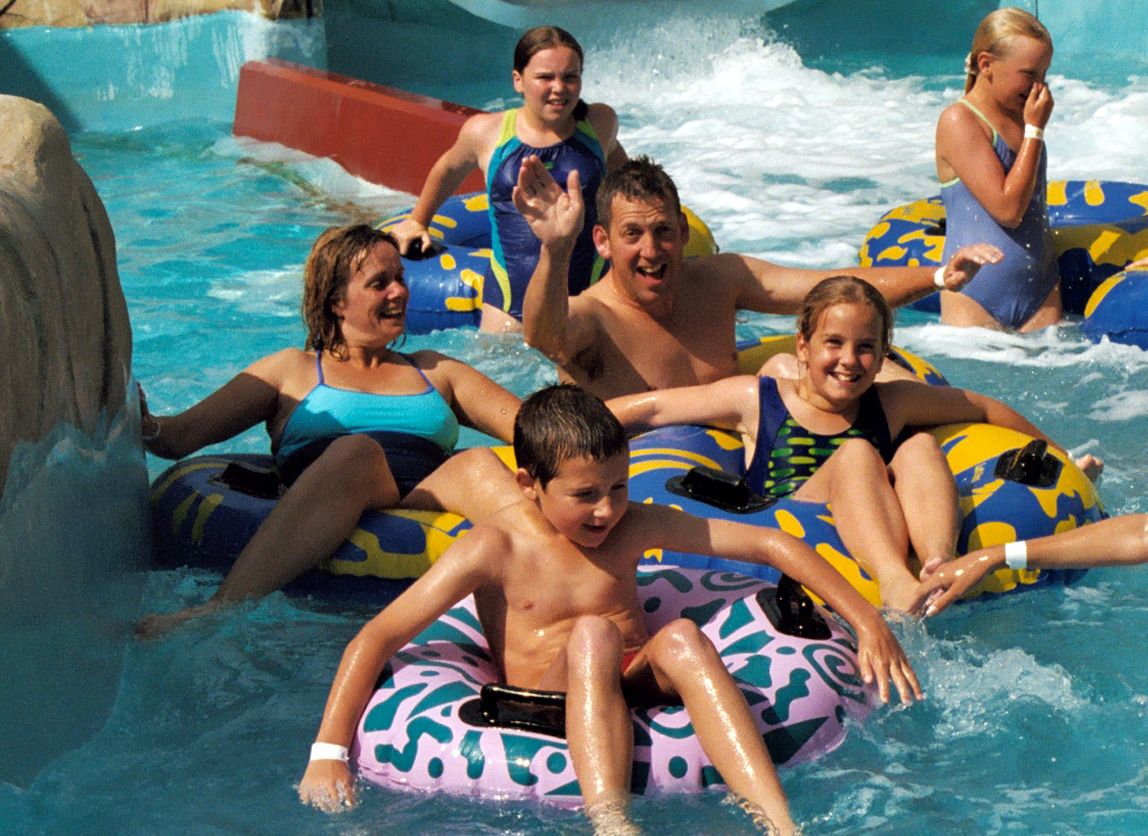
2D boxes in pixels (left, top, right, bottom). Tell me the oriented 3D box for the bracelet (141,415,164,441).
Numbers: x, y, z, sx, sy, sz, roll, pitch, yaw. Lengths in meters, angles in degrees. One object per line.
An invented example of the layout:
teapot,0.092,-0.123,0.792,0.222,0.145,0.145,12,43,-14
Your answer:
bracelet,-1.729,0.043,4.562,0.073,0.095,0.094,-1,46,-12

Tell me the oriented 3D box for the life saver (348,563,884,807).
life saver,0.133,0.866,3.674,1.690,0.457,0.836,0,28,-12

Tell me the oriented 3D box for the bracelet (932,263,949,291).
bracelet,1.660,-0.653,5.122,0.087,0.086,0.088,-11,-6,4

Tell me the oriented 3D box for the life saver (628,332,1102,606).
life saver,1.284,0.257,4.559,1.057,0.282,1.075,14,18,37

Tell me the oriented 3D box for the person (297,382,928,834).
person,0.009,0.635,3.560,1.871,1.009,1.378,-10,25,-23

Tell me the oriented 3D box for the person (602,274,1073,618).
person,1.075,0.070,4.575,1.810,0.983,1.208,2,9,-16

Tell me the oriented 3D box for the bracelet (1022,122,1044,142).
bracelet,2.427,-1.515,5.912,0.090,0.067,0.089,0,11,2

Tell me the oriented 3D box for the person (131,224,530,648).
person,-0.703,0.060,4.721,2.271,1.442,1.001,1,8,-12

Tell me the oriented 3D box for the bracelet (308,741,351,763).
bracelet,-0.772,1.043,3.493,0.076,0.036,0.078,2,3,-8

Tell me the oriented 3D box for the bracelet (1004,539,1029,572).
bracelet,1.624,0.511,4.109,0.092,0.091,0.093,2,62,18
